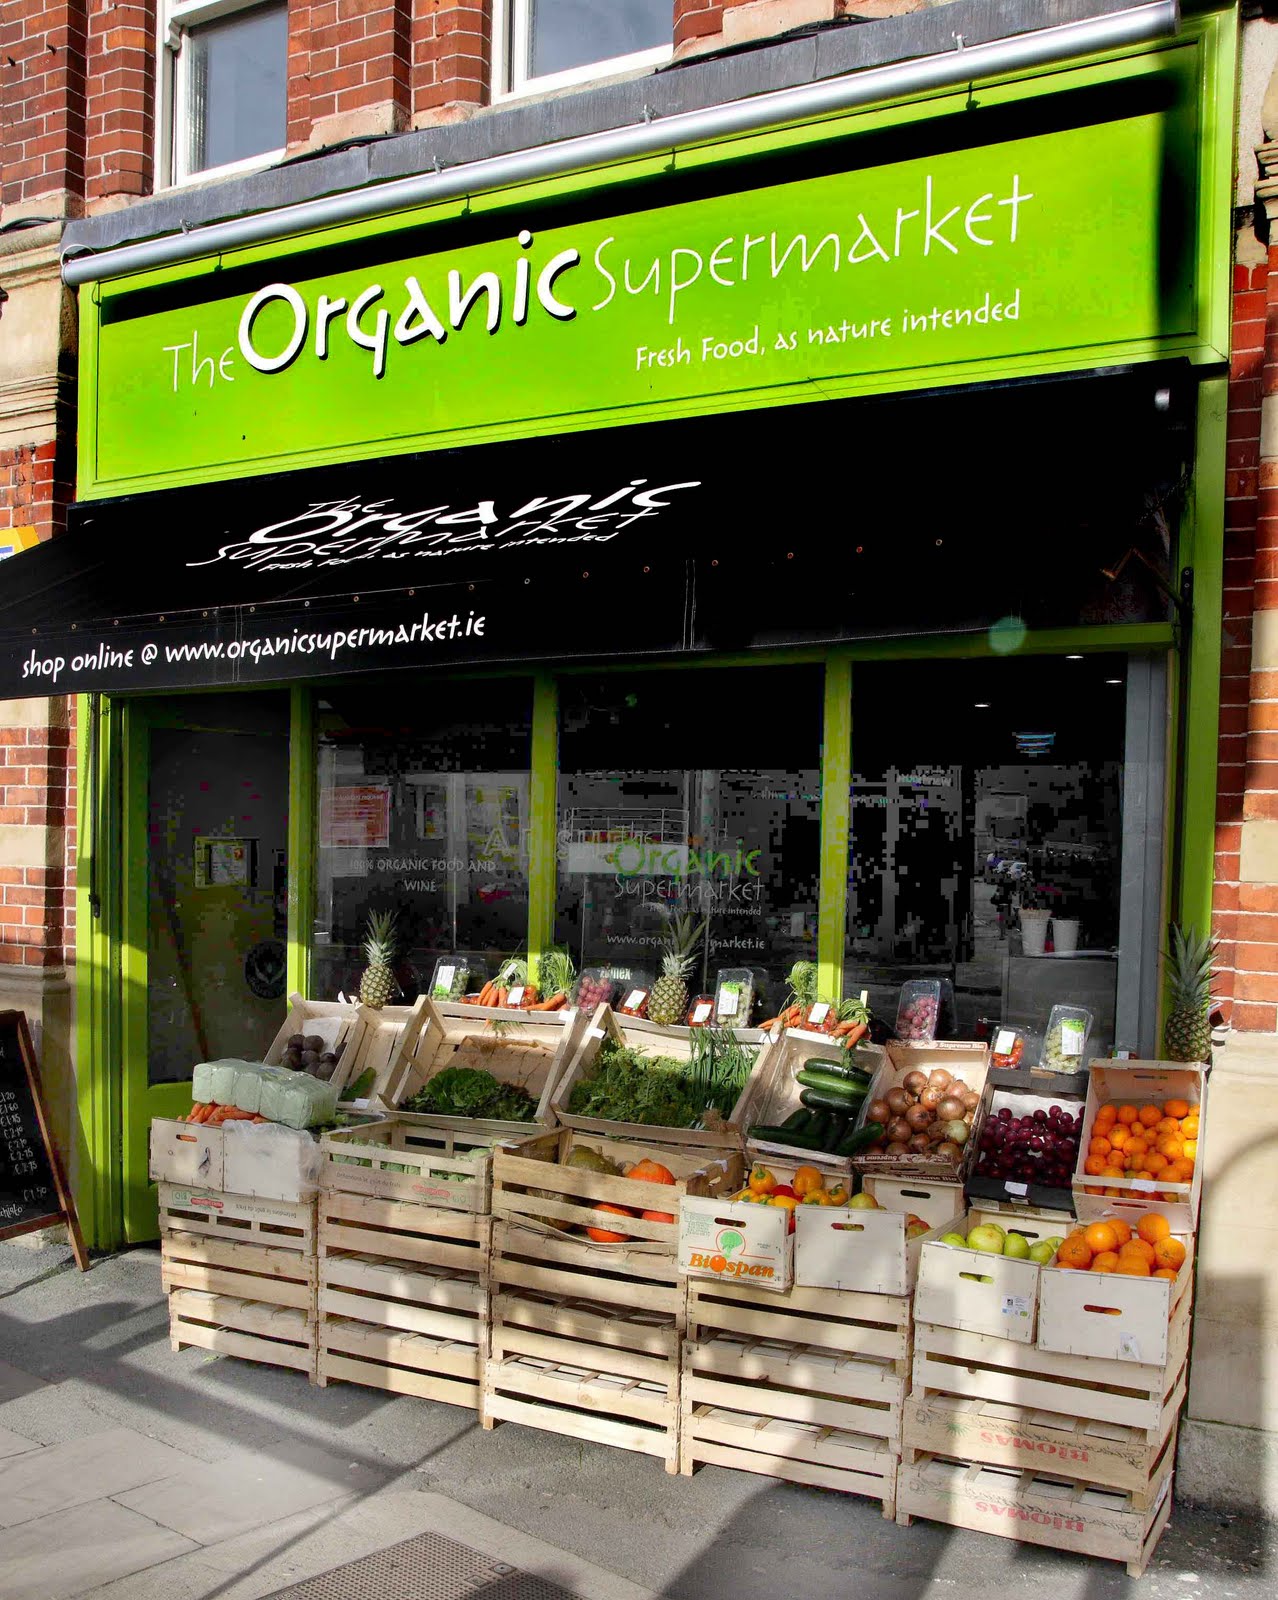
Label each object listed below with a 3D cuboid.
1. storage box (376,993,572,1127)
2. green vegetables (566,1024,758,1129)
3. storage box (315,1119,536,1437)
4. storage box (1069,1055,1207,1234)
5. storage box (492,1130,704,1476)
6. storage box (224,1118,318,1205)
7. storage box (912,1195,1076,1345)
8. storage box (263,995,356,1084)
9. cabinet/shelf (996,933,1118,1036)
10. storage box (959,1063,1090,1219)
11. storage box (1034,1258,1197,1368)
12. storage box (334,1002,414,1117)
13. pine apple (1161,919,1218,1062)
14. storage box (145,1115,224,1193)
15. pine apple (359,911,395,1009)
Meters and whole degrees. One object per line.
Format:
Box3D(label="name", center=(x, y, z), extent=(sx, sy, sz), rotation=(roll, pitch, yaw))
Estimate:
Box3D(label="storage box", center=(-0.671, 1.090, 6.289), extent=(0.516, 0.143, 0.553), rotation=(0, 41, 13))
Box3D(label="green vegetables", center=(0.108, 1.102, 5.744), extent=(0.752, 0.336, 0.470), rotation=(-1, -2, 29))
Box3D(label="storage box", center=(-0.872, 1.796, 5.480), extent=(0.727, 0.664, 0.503), rotation=(1, -9, -1))
Box3D(label="storage box", center=(1.683, 1.148, 4.806), extent=(0.377, 0.541, 0.178), rotation=(-4, -43, 35))
Box3D(label="storage box", center=(-0.154, 1.653, 5.237), extent=(0.886, 0.762, 0.651), rotation=(3, -22, -12))
Box3D(label="storage box", center=(-1.432, 1.415, 5.610), extent=(0.318, 0.192, 0.309), rotation=(3, -1, 14))
Box3D(label="storage box", center=(1.083, 1.447, 4.391), extent=(0.519, 0.231, 0.516), rotation=(0, 2, -1))
Box3D(label="storage box", center=(-1.514, 1.111, 6.697), extent=(0.350, 0.146, 0.346), rotation=(5, 38, 5))
Box3D(label="cabinet/shelf", center=(1.607, 0.687, 5.557), extent=(0.287, 0.453, 0.493), rotation=(1, 0, -44))
Box3D(label="storage box", center=(1.365, 1.210, 5.075), extent=(0.332, 0.134, 0.469), rotation=(-2, 38, 32))
Box3D(label="storage box", center=(1.331, 1.461, 4.096), extent=(0.385, 0.231, 0.380), rotation=(-2, 2, 16))
Box3D(label="storage box", center=(-1.206, 1.170, 6.507), extent=(0.383, 0.354, 0.096), rotation=(-4, -39, 16))
Box3D(label="pine apple", center=(1.892, 0.670, 4.940), extent=(0.159, 0.457, 0.327), rotation=(-1, -3, 22))
Box3D(label="storage box", center=(-1.824, 1.437, 5.858), extent=(0.296, 0.179, 0.289), rotation=(1, -1, 28))
Box3D(label="pine apple", center=(-1.309, 0.792, 7.205), extent=(0.160, 0.434, 0.323), rotation=(1, -2, -10))
